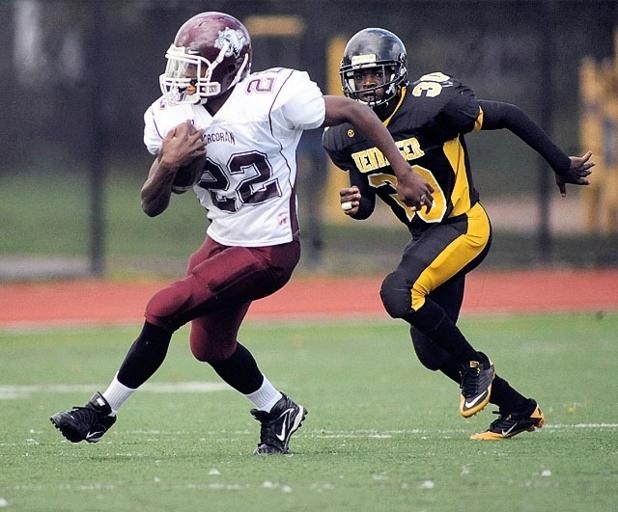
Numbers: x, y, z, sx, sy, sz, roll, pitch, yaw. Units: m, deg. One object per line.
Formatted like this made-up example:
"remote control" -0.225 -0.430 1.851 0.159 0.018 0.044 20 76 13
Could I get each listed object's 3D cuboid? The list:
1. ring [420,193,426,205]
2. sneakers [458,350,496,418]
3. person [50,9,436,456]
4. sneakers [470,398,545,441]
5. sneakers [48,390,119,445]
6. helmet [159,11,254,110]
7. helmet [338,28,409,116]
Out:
"ring" 0.502 -0.249 4.128 0.033 0.038 0.015 -1 15 -7
"sneakers" 0.803 0.616 4.534 0.126 0.350 0.188 -4 -30 44
"person" -0.369 -0.082 4.193 1.553 1.992 0.445 -2 6 -11
"sneakers" 0.994 0.813 4.717 0.468 0.172 0.150 -7 -5 -4
"sneakers" -1.011 0.713 4.203 0.119 0.221 0.329 13 -15 31
"helmet" -0.469 -0.906 4.178 0.350 0.319 0.464 18 31 36
"helmet" 0.322 -0.950 4.755 0.341 0.374 0.386 -2 20 17
